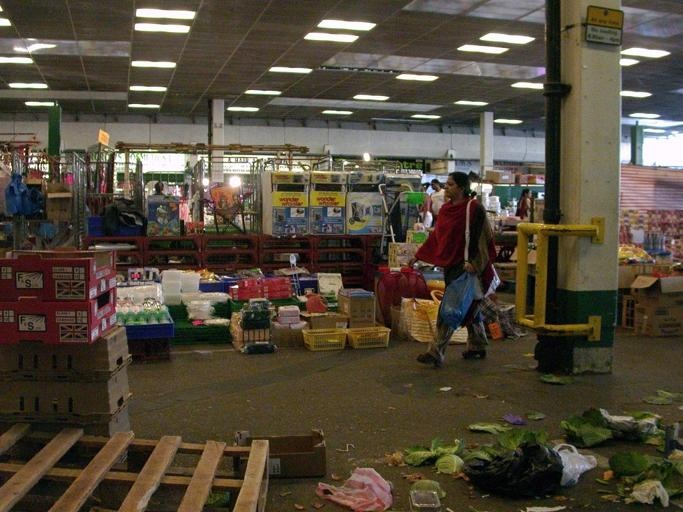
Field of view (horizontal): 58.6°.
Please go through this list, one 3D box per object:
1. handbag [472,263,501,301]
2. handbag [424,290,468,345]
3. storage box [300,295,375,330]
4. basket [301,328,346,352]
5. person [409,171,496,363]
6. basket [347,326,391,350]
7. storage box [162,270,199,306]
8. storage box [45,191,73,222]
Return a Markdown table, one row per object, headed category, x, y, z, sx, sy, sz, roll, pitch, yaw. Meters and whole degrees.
| category | x | y | z | sx | sy | sz | roll | pitch | yaw |
| --- | --- | --- | --- | --- | --- | --- | --- | --- | --- |
| handbag | 1.660 | 0.261 | 6.590 | 0.134 | 0.306 | 0.232 | -22 | 38 | -24 |
| handbag | 1.428 | 0.715 | 7.994 | 0.441 | 0.711 | 0.531 | -17 | -3 | -17 |
| storage box | -0.001 | 0.721 | 7.931 | 0.604 | 0.317 | 0.562 | 0 | 1 | -25 |
| basket | -0.183 | 1.014 | 7.408 | 0.414 | 0.137 | 0.268 | -1 | 2 | -13 |
| person | 1.301 | 0.146 | 6.623 | 0.668 | 2.105 | 0.718 | -5 | 6 | -24 |
| basket | 0.344 | 1.008 | 7.515 | 0.420 | 0.139 | 0.261 | -1 | 2 | -14 |
| storage box | -2.273 | 0.405 | 8.434 | 0.435 | 0.421 | 0.769 | -1 | 6 | 10 |
| storage box | -5.367 | -0.936 | 11.582 | 0.478 | 0.559 | 0.874 | 1 | 2 | -22 |
